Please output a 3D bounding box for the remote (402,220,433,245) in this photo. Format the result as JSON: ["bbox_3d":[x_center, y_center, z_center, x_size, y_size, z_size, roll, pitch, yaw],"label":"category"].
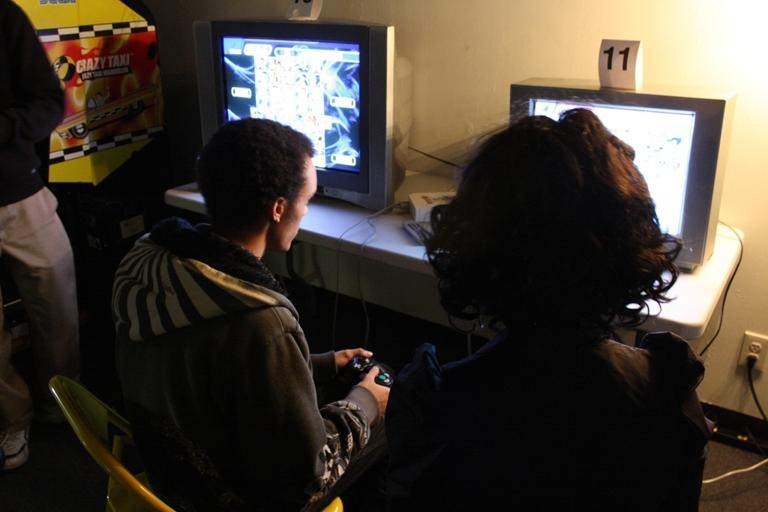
[{"bbox_3d":[0.132,-0.096,2.369,0.056,0.031,0.116,-11,29,-10],"label":"remote"}]

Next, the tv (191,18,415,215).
[{"bbox_3d":[-0.305,-0.694,2.896,0.919,0.746,0.505,11,29,20],"label":"tv"}]
